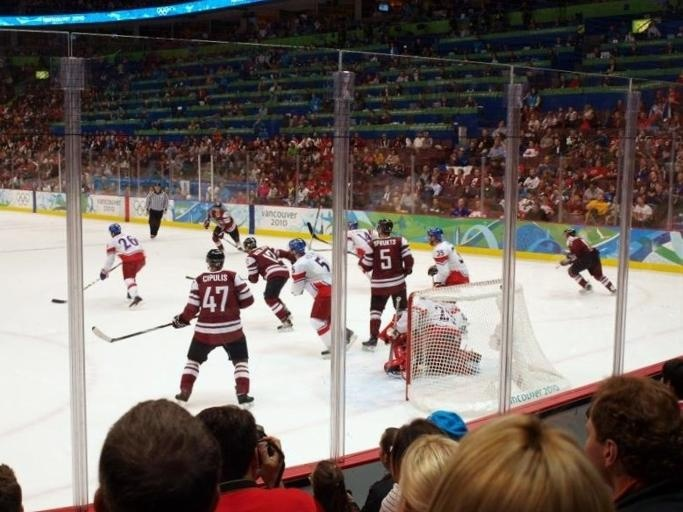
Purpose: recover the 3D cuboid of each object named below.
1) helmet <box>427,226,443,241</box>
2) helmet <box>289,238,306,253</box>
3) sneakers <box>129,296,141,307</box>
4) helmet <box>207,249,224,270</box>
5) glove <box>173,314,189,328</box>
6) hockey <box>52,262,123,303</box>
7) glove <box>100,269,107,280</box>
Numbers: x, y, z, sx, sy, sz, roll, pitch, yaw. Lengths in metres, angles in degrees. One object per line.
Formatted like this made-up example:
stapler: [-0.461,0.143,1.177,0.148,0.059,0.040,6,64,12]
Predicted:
helmet: [0.801,-0.188,6.021,0.083,0.095,0.119,-8,28,-27]
helmet: [-0.414,-0.086,6.782,0.108,0.124,0.148,2,24,-6]
sneakers: [-1.761,0.397,6.072,0.129,0.056,0.050,-36,9,22]
helmet: [-0.920,0.029,5.205,0.119,0.157,0.154,-1,14,-15]
glove: [-1.161,0.488,5.155,0.119,0.051,0.086,-21,-28,32]
hockey: [-1.612,0.178,4.538,0.473,0.048,0.054,-37,27,4]
glove: [-1.751,0.142,5.252,0.048,0.071,0.071,3,12,-4]
